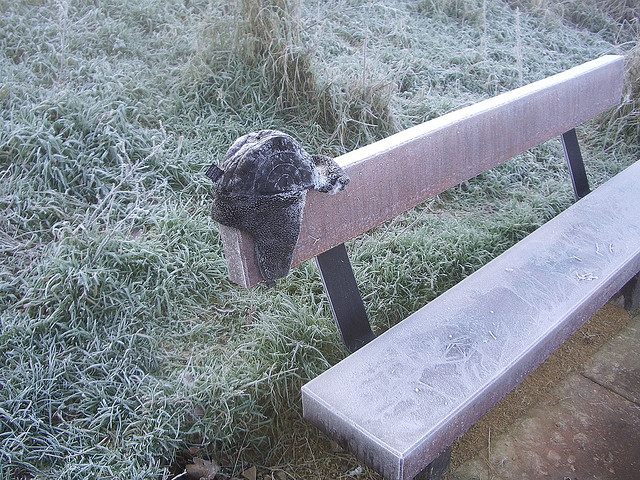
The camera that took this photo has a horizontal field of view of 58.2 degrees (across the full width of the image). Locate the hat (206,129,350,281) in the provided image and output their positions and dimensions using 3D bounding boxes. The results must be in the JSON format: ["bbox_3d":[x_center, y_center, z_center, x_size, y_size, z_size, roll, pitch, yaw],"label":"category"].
[{"bbox_3d":[-0.200,-0.122,2.023,0.330,0.477,0.257,8,38,7],"label":"hat"}]
